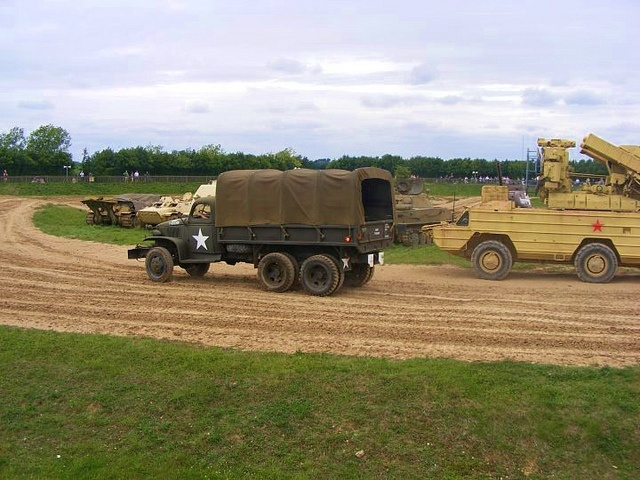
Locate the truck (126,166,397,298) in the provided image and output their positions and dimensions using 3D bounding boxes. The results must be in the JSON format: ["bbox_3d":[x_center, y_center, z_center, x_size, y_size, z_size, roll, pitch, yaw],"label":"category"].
[{"bbox_3d":[-1.687,-0.480,20.181,7.962,4.061,3.431,3,4,21],"label":"truck"}]
